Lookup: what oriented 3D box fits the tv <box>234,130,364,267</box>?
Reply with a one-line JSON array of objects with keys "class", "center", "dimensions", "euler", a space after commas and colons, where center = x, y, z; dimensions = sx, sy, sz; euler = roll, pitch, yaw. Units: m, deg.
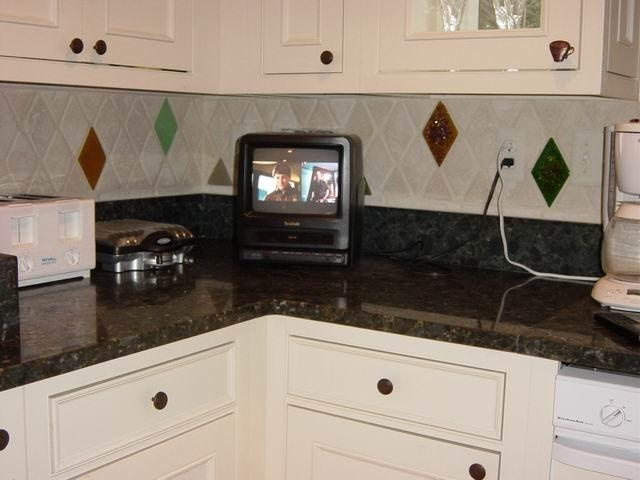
[{"class": "tv", "center": [-0.070, -0.149, 1.901], "dimensions": [0.408, 0.412, 0.323], "euler": [3, 8, 9]}]
